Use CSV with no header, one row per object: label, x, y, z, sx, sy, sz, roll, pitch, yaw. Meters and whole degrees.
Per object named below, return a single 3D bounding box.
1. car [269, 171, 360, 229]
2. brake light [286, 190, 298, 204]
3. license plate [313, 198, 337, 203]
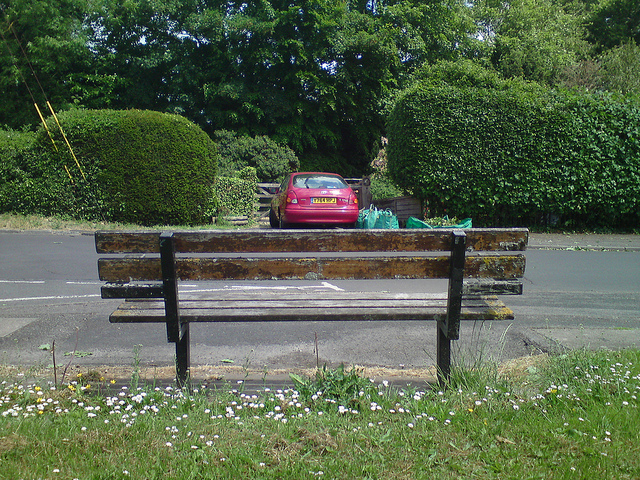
car,-0.239,-1.132,24.595,2.933,1.970,1.922,6,13,18
brake light,-0.859,-1.322,23.878,0.099,0.441,0.223,2,1,28
license plate,0.142,-1.235,23.836,0.724,0.154,0.047,2,11,-4
